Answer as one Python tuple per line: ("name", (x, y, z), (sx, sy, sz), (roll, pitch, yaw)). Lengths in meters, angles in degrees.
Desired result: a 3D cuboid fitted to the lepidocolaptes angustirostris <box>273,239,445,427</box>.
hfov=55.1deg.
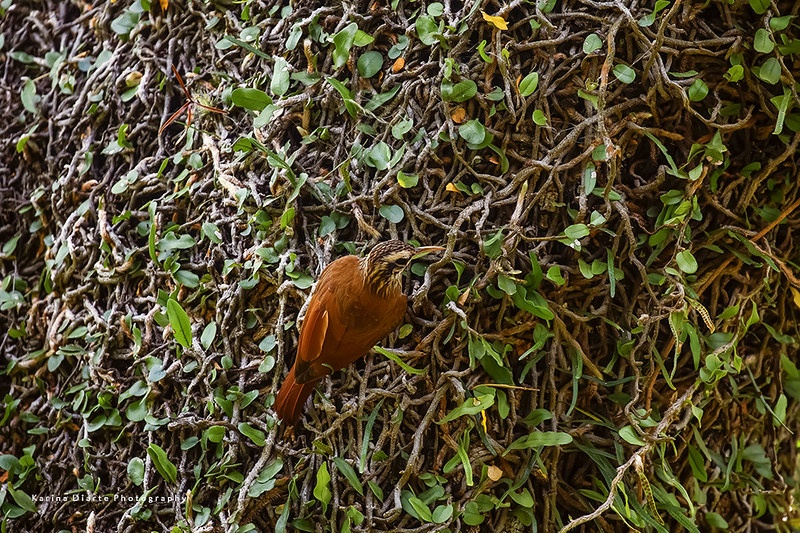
("lepidocolaptes angustirostris", (-0.113, 0.120, 1.723), (0.204, 0.277, 0.456), (42, 90, -7))
